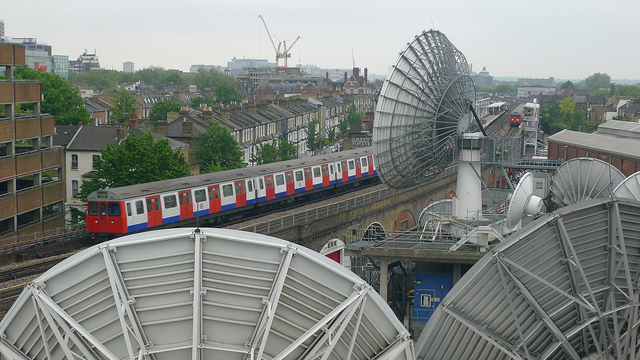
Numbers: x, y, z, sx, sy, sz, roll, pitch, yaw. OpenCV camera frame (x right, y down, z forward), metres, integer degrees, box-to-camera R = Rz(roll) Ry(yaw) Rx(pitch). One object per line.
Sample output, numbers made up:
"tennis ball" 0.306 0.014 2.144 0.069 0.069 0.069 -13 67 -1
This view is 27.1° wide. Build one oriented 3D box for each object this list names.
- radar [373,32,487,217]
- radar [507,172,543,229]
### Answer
"radar" 11.549 -6.088 138.101 10.606 18.630 4.958 -2 13 0
"radar" 21.106 2.252 135.247 2.620 3.953 4.028 12 42 27
